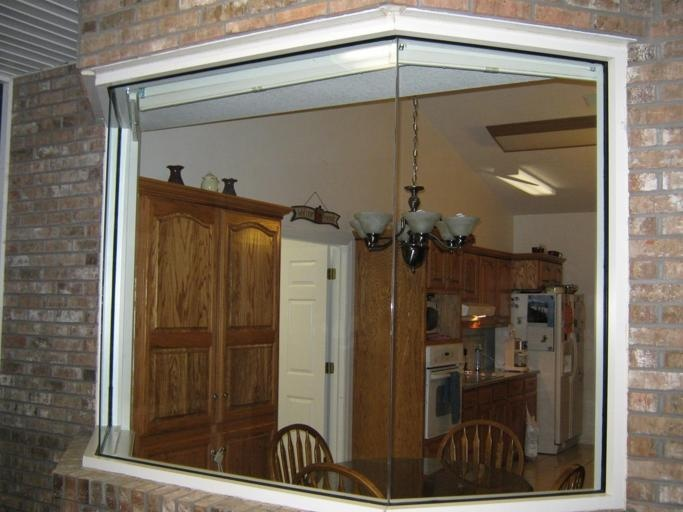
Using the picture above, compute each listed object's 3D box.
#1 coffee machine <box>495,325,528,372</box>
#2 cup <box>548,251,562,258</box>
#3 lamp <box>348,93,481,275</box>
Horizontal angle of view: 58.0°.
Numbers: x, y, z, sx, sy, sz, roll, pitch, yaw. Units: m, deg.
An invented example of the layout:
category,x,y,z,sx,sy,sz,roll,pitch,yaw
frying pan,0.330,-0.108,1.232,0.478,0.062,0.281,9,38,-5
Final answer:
category,x,y,z,sx,sy,sz,roll,pitch,yaw
coffee machine,1.927,1.073,6.729,0.167,0.383,0.268,9,-20,-18
cup,2.581,-0.022,7.402,0.144,0.116,0.140,5,6,-1
lamp,0.358,-0.385,3.056,0.537,0.856,0.652,2,-3,-3
